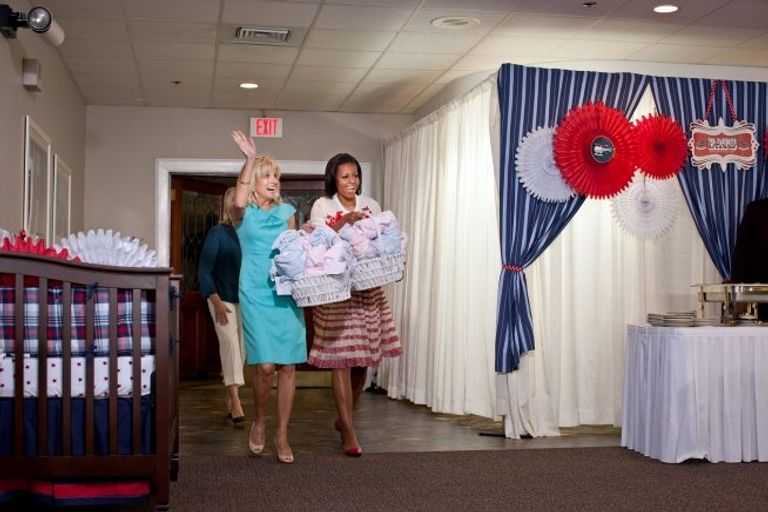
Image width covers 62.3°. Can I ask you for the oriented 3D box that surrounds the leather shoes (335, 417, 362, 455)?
[{"bbox_3d":[-0.262,1.301,4.623,0.105,0.102,0.426,-3,7,-13],"label":"leather shoes"}]

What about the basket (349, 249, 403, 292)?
[{"bbox_3d":[-0.093,0.107,4.270,0.224,0.141,0.308,-11,0,-25],"label":"basket"}]

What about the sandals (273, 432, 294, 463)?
[{"bbox_3d":[-0.685,1.303,4.311,0.084,0.095,0.239,2,-2,-23],"label":"sandals"}]

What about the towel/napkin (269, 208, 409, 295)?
[{"bbox_3d":[-0.276,0.022,4.131,0.706,0.364,0.520,-12,-3,-15],"label":"towel/napkin"}]

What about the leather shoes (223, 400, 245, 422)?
[{"bbox_3d":[-1.330,1.379,5.633,0.133,0.059,0.519,1,-7,-11],"label":"leather shoes"}]
